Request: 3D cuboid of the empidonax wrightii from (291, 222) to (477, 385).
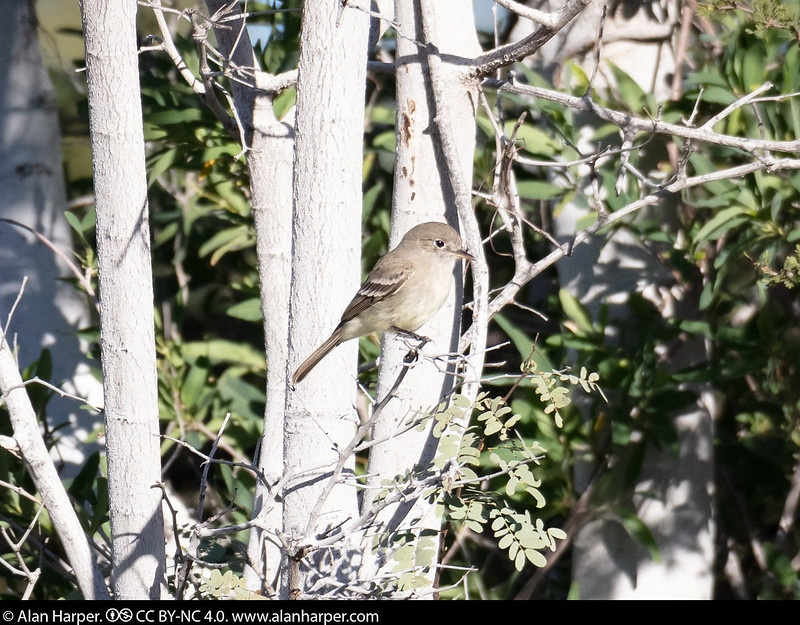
[{"bbox_3d":[-0.095,-0.074,5.666,0.922,0.799,0.420,2,-3,20],"label":"empidonax wrightii"}]
